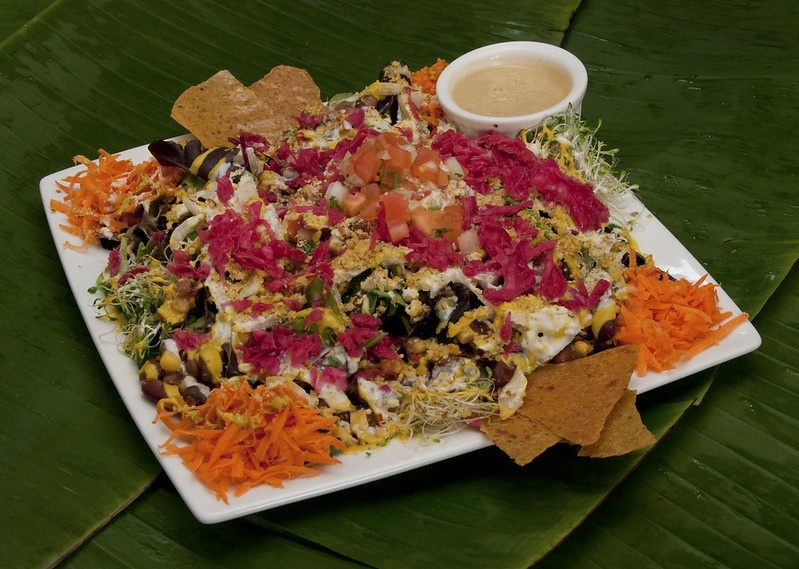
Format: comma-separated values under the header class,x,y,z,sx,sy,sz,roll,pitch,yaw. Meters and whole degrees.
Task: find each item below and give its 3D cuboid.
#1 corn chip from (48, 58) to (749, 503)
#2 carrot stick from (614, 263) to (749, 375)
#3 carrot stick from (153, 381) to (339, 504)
class,x,y,z,sx,sy,sz,roll,pitch,yaw
corn chip,-0.281,-0.072,3.901,3.271,2.340,0.986,-15,-27,-11
carrot stick,1.418,0.193,3.840,0.832,0.365,0.741,6,22,-7
carrot stick,-0.721,0.731,3.553,0.738,0.608,0.203,-34,-8,-4
